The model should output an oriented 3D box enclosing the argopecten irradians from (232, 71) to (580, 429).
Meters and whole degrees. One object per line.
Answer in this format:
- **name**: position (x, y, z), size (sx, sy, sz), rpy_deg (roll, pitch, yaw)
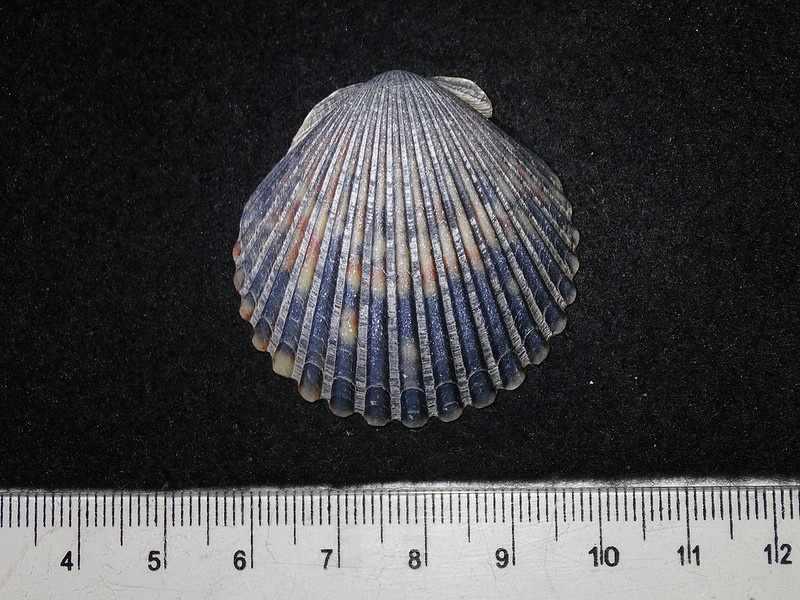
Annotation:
- **argopecten irradians**: position (0.000, -0.171, 1.855), size (0.766, 0.270, 0.915), rpy_deg (6, 42, 7)
